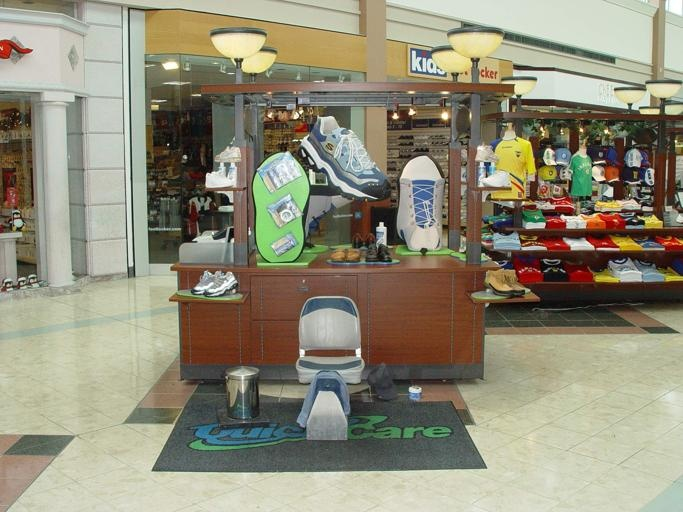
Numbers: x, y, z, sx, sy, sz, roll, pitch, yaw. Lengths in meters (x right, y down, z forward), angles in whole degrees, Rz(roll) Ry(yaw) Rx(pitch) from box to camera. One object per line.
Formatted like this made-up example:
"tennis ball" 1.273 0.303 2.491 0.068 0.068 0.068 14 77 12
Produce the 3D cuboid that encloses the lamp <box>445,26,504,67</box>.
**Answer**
"lamp" 1.218 -1.854 4.957 0.534 0.167 0.457 6 4 -6

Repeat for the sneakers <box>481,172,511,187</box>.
"sneakers" 1.343 -0.679 4.933 0.324 0.113 0.109 0 11 -5

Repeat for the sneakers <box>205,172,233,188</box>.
"sneakers" -1.060 -0.660 4.850 0.252 0.139 0.148 0 10 -3

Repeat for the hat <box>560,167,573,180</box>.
"hat" 3.364 -1.252 8.317 0.230 0.168 0.126 3 5 38

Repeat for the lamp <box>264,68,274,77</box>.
"lamp" -1.315 -3.317 10.025 0.111 0.070 0.204 15 39 9

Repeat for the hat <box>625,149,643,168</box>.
"hat" 4.432 -1.488 8.467 0.269 0.205 0.284 6 54 19

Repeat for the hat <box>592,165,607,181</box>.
"hat" 3.867 -1.262 8.438 0.217 0.136 0.243 -5 38 0

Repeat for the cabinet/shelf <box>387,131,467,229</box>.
"cabinet/shelf" 2.143 -2.771 14.043 1.592 3.304 1.558 -1 11 1

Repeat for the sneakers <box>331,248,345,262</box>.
"sneakers" -0.030 -0.005 5.124 0.171 0.098 0.397 0 2 1

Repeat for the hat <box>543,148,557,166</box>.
"hat" 3.064 -1.469 8.170 0.200 0.237 0.142 1 -21 9

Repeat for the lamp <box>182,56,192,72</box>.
"lamp" -2.562 -3.178 9.185 0.148 0.222 0.028 -4 13 -21

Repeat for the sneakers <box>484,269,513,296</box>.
"sneakers" 1.371 0.218 4.764 0.259 0.199 0.231 2 10 8

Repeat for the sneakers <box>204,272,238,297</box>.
"sneakers" -0.988 0.236 4.617 0.147 0.165 0.272 7 12 34

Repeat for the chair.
"chair" -0.095 0.640 4.305 0.508 0.619 0.434 -1 11 -4

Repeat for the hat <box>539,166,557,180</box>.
"hat" 3.085 -1.246 8.309 0.234 0.166 0.258 -1 23 2

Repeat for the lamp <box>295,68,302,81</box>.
"lamp" -0.787 -3.346 10.279 0.126 0.155 0.045 -7 13 -32

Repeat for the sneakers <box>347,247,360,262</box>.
"sneakers" 0.108 -0.011 5.148 0.148 0.100 0.285 0 -4 5

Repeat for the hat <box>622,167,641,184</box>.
"hat" 4.454 -1.241 8.524 0.258 0.249 0.106 1 5 6

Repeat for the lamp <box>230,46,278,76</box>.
"lamp" -0.922 -2.124 6.069 0.646 0.277 0.546 -7 16 -18

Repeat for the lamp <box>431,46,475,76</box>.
"lamp" 1.126 -1.972 5.701 0.463 0.202 0.386 -7 19 -15

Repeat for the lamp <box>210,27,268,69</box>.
"lamp" -0.962 -1.906 5.191 0.551 0.240 0.509 1 -5 -35
